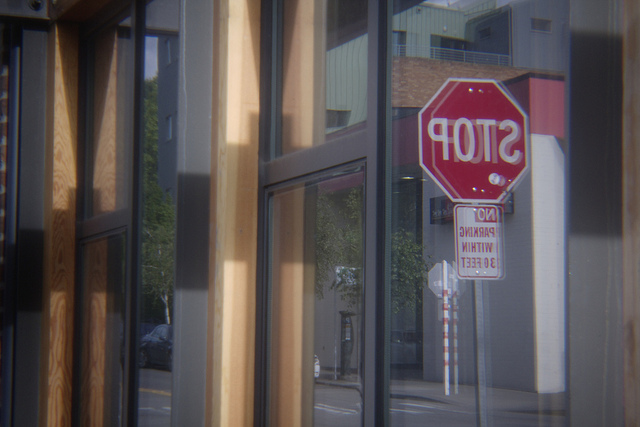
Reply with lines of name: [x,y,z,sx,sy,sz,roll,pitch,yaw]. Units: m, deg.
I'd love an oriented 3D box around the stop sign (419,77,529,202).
stop sign: [0.633,-0.292,3.620,0.431,0.575,0.065,-2,0,31]
